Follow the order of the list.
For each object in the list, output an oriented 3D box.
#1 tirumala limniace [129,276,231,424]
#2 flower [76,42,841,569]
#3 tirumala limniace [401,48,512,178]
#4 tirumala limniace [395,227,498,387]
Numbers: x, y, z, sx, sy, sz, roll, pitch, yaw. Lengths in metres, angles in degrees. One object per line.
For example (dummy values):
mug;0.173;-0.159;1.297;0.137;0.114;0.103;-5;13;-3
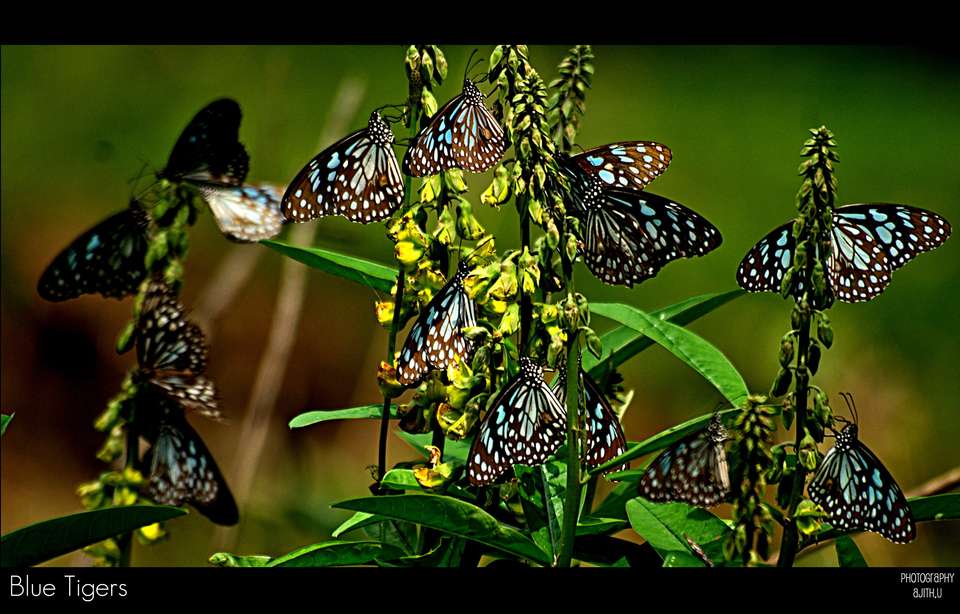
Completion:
tirumala limniace;-0.554;0.086;2.019;0.171;0.120;0.223;31;-32;8
flower;-0.030;-0.009;2.044;0.925;0.803;0.963;5;-5;45
tirumala limniace;-0.023;-0.291;1.892;0.154;0.249;0.172;-6;-31;14
tirumala limniace;-0.064;0.037;1.852;0.131;0.184;0.068;-5;-22;36
